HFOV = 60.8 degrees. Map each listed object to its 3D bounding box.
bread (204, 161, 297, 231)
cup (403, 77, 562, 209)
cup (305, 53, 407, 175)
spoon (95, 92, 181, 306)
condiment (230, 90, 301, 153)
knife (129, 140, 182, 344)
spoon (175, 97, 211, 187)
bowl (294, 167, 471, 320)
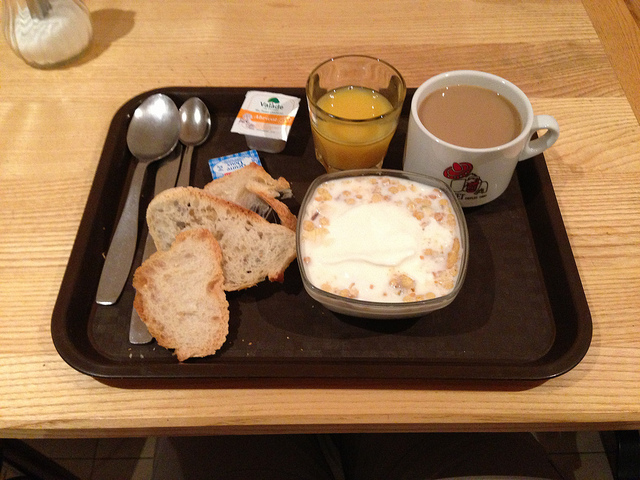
[{"bbox_3d":[-0.175,-0.133,1.469,0.196,0.054,0.207,-7,78,9],"label":"bread"},{"bbox_3d":[0.382,-0.259,1.427,0.312,0.202,0.326,-1,70,2],"label":"cup"},{"bbox_3d":[0.092,-0.341,1.595,0.294,0.291,0.349,-1,59,0],"label":"cup"},{"bbox_3d":[-0.493,-0.125,1.510,0.125,0.065,0.597,8,76,3],"label":"spoon"},{"bbox_3d":[-0.150,-0.346,1.535,0.164,0.104,0.173,16,71,7],"label":"condiment"},{"bbox_3d":[-0.428,-0.003,1.431,0.071,0.037,0.466,5,67,-4],"label":"knife"},{"bbox_3d":[-0.361,-0.304,1.565,0.065,0.039,0.306,3,70,2],"label":"spoon"},{"bbox_3d":[0.150,0.021,1.334,0.395,0.148,0.447,4,46,5],"label":"bowl"}]
